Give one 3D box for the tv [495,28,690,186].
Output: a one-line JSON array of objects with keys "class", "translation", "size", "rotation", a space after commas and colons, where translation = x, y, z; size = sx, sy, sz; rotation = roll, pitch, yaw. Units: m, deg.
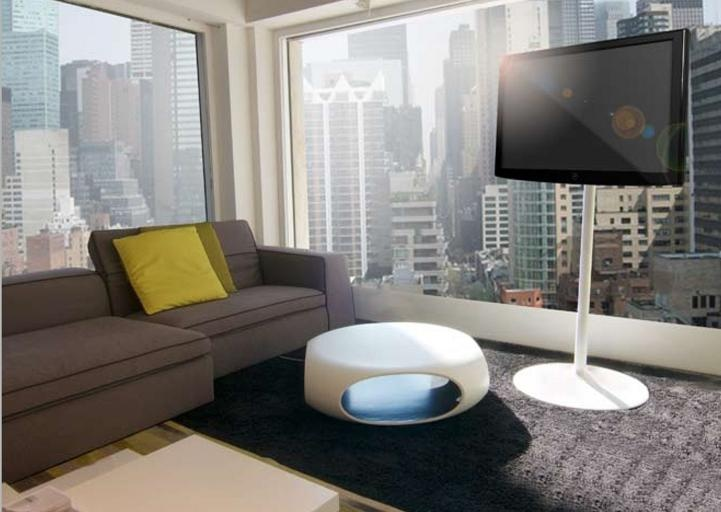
[{"class": "tv", "translation": [1.397, -0.853, 3.499], "size": [1.063, 0.794, 0.122], "rotation": [3, 6, 37]}]
